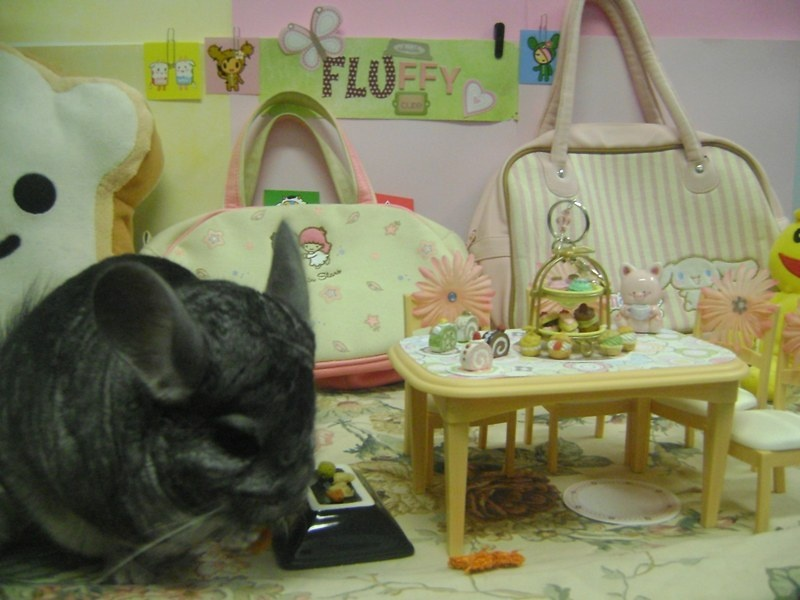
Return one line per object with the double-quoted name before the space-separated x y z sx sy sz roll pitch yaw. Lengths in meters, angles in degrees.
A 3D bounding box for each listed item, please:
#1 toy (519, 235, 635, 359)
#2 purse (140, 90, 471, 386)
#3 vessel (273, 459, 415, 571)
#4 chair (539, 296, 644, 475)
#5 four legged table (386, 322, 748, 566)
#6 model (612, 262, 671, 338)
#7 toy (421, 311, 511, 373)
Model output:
"toy" 0.338 -0.035 1.363 0.269 0.204 0.230 -6 10 -19
"purse" -0.219 -0.169 1.518 0.874 0.716 0.369 -3 -19 -22
"vessel" -0.086 0.352 1.025 0.200 0.064 0.227 0 9 -13
"chair" 0.488 0.259 1.569 0.215 0.282 0.184 4 7 31
"four legged table" 0.316 0.250 1.309 0.635 0.309 0.294 -2 13 -12
"model" 0.516 -0.003 1.441 0.105 0.149 0.083 1 10 30
"toy" 0.131 0.079 1.247 0.117 0.067 0.108 -1 13 -26
